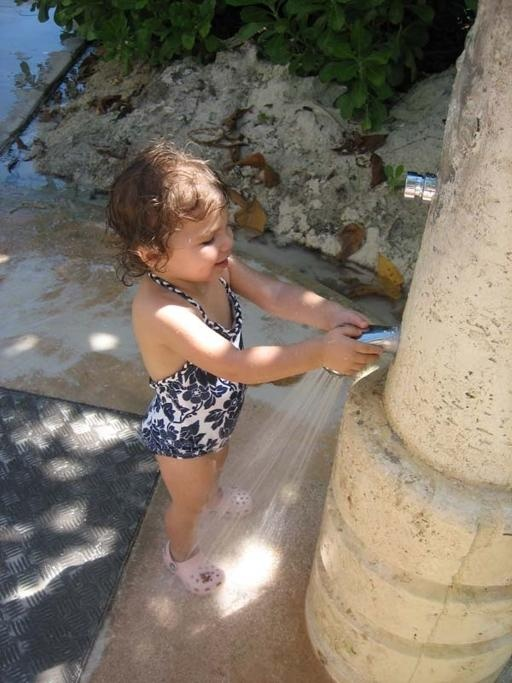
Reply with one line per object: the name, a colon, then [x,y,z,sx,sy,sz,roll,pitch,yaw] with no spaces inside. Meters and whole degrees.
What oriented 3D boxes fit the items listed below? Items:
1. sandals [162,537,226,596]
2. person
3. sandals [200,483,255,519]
sandals: [-0.175,0.653,1.890,0.128,0.069,0.221,-5,13,-36]
person: [-0.022,0.133,1.691,0.502,1.175,0.687,-11,30,-30]
sandals: [-0.090,0.503,2.069,0.166,0.050,0.073,-2,44,-2]
